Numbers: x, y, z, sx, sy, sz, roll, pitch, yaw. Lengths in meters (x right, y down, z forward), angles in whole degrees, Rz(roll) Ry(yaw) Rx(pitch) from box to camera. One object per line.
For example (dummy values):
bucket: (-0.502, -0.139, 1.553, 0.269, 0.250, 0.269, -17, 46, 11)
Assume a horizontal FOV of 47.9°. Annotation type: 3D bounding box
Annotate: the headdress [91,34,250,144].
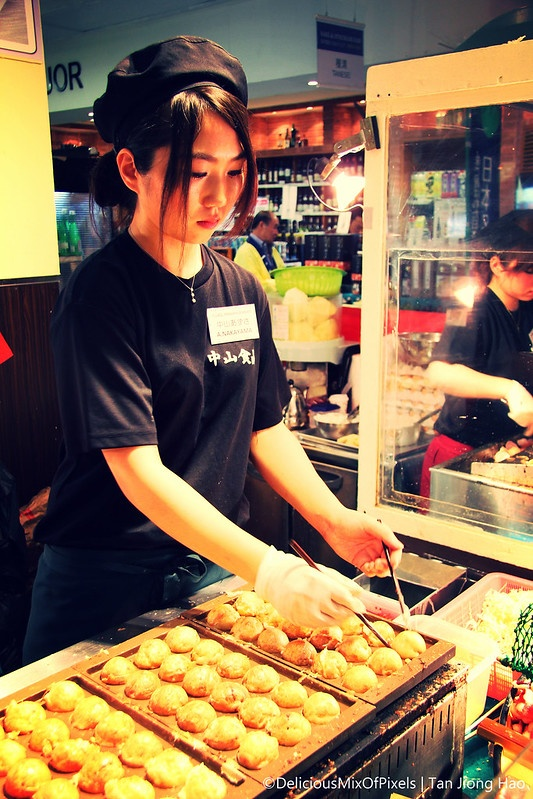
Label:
headdress: (-0.148, -0.530, 1.029, 0.227, 0.092, 0.244, -9, 10, -30)
